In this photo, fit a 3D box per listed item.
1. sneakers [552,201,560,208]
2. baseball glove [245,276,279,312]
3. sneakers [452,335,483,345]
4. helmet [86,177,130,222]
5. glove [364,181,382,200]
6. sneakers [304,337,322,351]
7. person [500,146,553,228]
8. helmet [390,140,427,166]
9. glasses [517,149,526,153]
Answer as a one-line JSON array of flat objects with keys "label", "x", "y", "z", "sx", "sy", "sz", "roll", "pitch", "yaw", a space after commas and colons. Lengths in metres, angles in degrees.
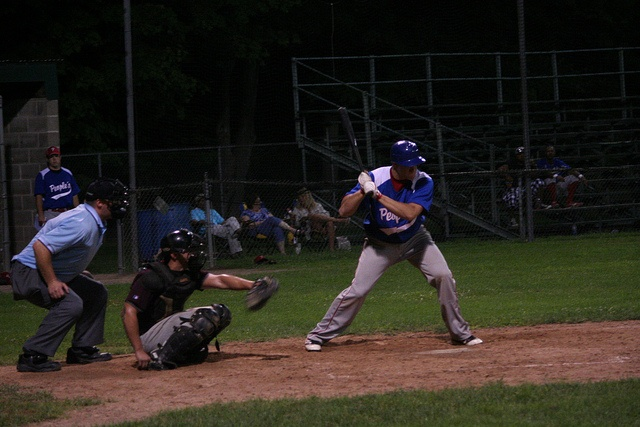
[{"label": "sneakers", "x": 6.076, "y": -0.258, "z": 24.973, "sx": 0.246, "sy": 0.170, "sz": 0.123, "roll": 0, "pitch": 2, "yaw": 15}, {"label": "baseball glove", "x": -0.967, "y": 1.297, "z": 15.507, "sx": 0.792, "sy": 0.255, "sz": 0.348, "roll": -35, "pitch": -48, "yaw": 26}, {"label": "sneakers", "x": 2.474, "y": 2.101, "z": 16.180, "sx": 0.521, "sy": 0.147, "sz": 0.172, "roll": -3, "pitch": 0, "yaw": 9}, {"label": "helmet", "x": -3.531, "y": -0.282, "z": 15.836, "sx": 0.756, "sy": 0.484, "sz": 0.461, "roll": 9, "pitch": -11, "yaw": -10}, {"label": "glove", "x": 0.824, "y": -0.383, "z": 15.683, "sx": 0.311, "sy": 0.102, "sz": 0.282, "roll": 29, "pitch": -36, "yaw": -9}, {"label": "sneakers", "x": -0.113, "y": 2.151, "z": 16.082, "sx": 0.231, "sy": 0.186, "sz": 0.532, "roll": 2, "pitch": -8, "yaw": -13}, {"label": "person", "x": 5.173, "y": -0.848, "z": 24.864, "sx": 1.395, "sy": 1.711, "sz": 1.182, "roll": -16, "pitch": 31, "yaw": -29}, {"label": "helmet", "x": 1.468, "y": -1.070, "z": 15.887, "sx": 0.578, "sy": 0.309, "sz": 0.661, "roll": -16, "pitch": 26, "yaw": -19}, {"label": "glasses", "x": 5.225, "y": -1.662, "z": 25.095, "sx": 0.254, "sy": 0.060, "sz": 0.228, "roll": 2, "pitch": 6, "yaw": 24}]
